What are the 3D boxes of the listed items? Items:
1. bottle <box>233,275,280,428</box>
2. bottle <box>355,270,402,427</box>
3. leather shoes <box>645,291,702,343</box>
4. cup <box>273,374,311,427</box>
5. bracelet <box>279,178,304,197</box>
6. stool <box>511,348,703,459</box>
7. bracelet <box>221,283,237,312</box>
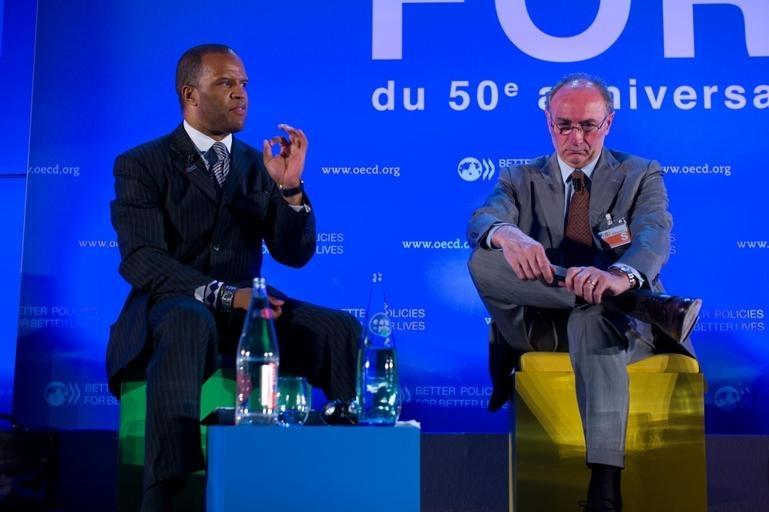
[{"bbox_3d":[-0.494,0.358,3.385,0.167,0.553,0.189,1,-4,-10],"label":"bottle"},{"bbox_3d":[-0.022,0.356,3.463,0.156,0.579,0.298,0,-4,3],"label":"bottle"},{"bbox_3d":[1.230,0.248,3.765,0.237,0.143,0.109,25,-26,49],"label":"leather shoes"},{"bbox_3d":[-0.355,0.553,3.375,0.154,0.168,0.157,1,-1,0],"label":"cup"},{"bbox_3d":[-0.446,-0.322,4.167,0.091,0.069,0.102,-7,5,8],"label":"bracelet"},{"bbox_3d":[0.995,0.694,4.059,0.887,0.585,0.673,-1,3,-9],"label":"stool"},{"bbox_3d":[-0.679,0.171,3.815,0.085,0.095,0.076,0,-2,-1],"label":"bracelet"}]
